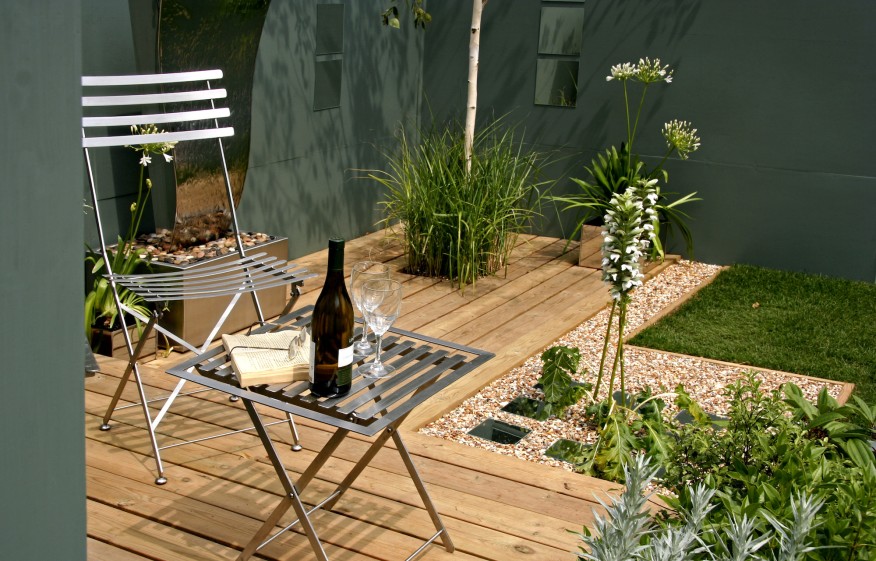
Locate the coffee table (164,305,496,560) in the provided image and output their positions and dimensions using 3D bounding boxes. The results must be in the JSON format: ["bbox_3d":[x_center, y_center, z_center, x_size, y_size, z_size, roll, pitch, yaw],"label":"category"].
[{"bbox_3d":[-0.326,0.369,2.447,0.926,0.977,0.883,10,17,28],"label":"coffee table"}]

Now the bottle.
[{"bbox_3d":[-0.300,0.106,2.030,0.128,0.443,0.133,1,9,0],"label":"bottle"}]

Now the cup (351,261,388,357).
[{"bbox_3d":[-0.206,0.109,2.147,0.083,0.090,0.211,18,60,-19],"label":"cup"}]

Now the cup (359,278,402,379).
[{"bbox_3d":[-0.176,0.157,2.197,0.112,0.261,0.116,3,10,0],"label":"cup"}]
